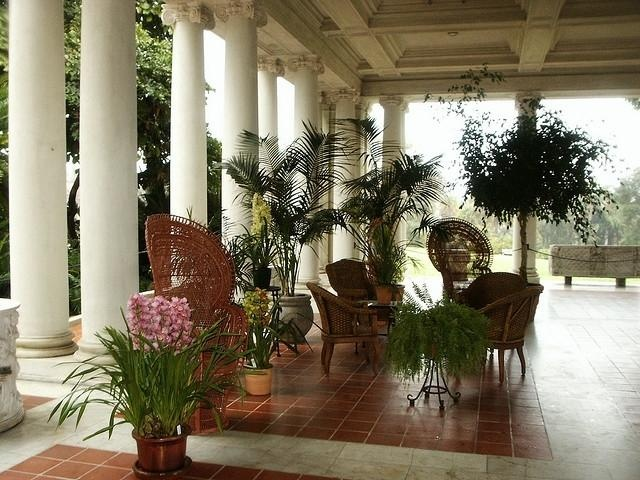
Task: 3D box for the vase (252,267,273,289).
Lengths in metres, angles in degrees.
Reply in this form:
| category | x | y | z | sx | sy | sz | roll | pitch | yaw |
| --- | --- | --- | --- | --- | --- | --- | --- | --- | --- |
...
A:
| category | x | y | z | sx | sy | sz | roll | pitch | yaw |
| --- | --- | --- | --- | --- | --- | --- | --- | --- | --- |
| vase | -0.743 | 0.477 | 6.047 | 0.254 | 0.283 | 0.254 | 1 | -7 | -7 |

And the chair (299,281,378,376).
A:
| category | x | y | z | sx | sy | sz | roll | pitch | yaw |
| --- | --- | --- | --- | --- | --- | --- | --- | --- | --- |
| chair | 0.289 | 1.034 | 5.978 | 1.029 | 1.298 | 0.986 | -1 | 2 | 2 |

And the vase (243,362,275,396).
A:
| category | x | y | z | sx | sy | sz | roll | pitch | yaw |
| --- | --- | --- | --- | --- | --- | --- | --- | --- | --- |
| vase | -0.648 | 1.423 | 4.886 | 0.329 | 0.248 | 0.334 | -1 | -9 | 16 |

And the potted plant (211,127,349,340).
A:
| category | x | y | z | sx | sy | sz | roll | pitch | yaw |
| --- | --- | --- | --- | --- | --- | --- | --- | --- | --- |
| potted plant | -0.474 | -0.161 | 7.220 | 1.990 | 2.943 | 1.946 | 4 | 3 | -36 |

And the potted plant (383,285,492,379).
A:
| category | x | y | z | sx | sy | sz | roll | pitch | yaw |
| --- | --- | --- | --- | --- | --- | --- | --- | --- | --- |
| potted plant | 1.089 | 0.776 | 4.543 | 0.823 | 0.838 | 0.804 | -1 | 7 | 2 |

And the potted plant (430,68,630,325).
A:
| category | x | y | z | sx | sy | sz | roll | pitch | yaw |
| --- | --- | --- | --- | --- | --- | --- | --- | --- | --- |
| potted plant | 3.557 | -0.863 | 8.192 | 1.802 | 2.560 | 2.396 | -2 | 15 | -6 |

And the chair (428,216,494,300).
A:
| category | x | y | z | sx | sy | sz | roll | pitch | yaw |
| --- | --- | --- | --- | --- | --- | --- | --- | --- | --- |
| chair | 2.402 | 0.430 | 8.025 | 1.033 | 1.395 | 1.042 | -8 | 16 | -1 |

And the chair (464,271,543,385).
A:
| category | x | y | z | sx | sy | sz | roll | pitch | yaw |
| --- | --- | --- | --- | --- | --- | --- | --- | --- | --- |
| chair | 2.071 | 1.026 | 5.539 | 0.787 | 0.959 | 0.898 | 5 | -1 | 34 |
